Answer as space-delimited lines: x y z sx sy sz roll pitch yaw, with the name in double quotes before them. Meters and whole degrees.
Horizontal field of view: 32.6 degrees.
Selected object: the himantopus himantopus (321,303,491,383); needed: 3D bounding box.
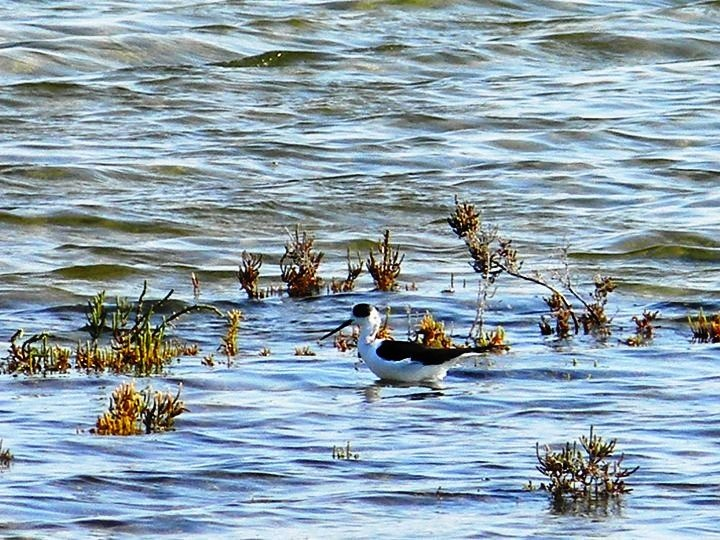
"himantopus himantopus" 0.494 0.786 12.482 1.811 0.756 0.497 2 5 -18
